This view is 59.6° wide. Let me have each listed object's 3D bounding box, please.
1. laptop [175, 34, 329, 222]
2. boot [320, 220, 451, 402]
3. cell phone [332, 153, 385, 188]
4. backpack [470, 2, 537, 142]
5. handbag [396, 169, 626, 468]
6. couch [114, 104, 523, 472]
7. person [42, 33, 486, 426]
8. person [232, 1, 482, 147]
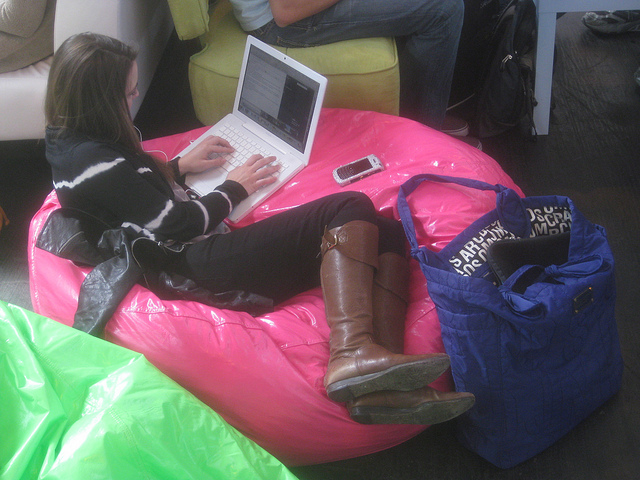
[{"bbox_3d":[-0.249,-0.424,2.044,0.408,0.330,0.457,31,55,20],"label":"laptop"},{"bbox_3d":[0.154,0.178,1.563,0.348,0.145,0.508,-17,58,26],"label":"boot"},{"bbox_3d":[0.138,-0.254,2.034,0.162,0.040,0.101,-21,52,-2],"label":"cell phone"},{"bbox_3d":[0.812,-0.737,2.439,0.235,0.480,0.399,9,40,17],"label":"backpack"},{"bbox_3d":[0.578,0.204,1.871,0.574,0.757,0.704,-20,18,-16],"label":"handbag"},{"bbox_3d":[0.180,0.058,2.027,0.857,0.612,1.656,20,47,27],"label":"couch"},{"bbox_3d":[-0.194,-0.043,1.809,1.137,1.382,0.591,-10,11,9],"label":"person"},{"bbox_3d":[0.230,-0.828,2.593,0.673,0.642,0.757,-1,46,5],"label":"person"}]
